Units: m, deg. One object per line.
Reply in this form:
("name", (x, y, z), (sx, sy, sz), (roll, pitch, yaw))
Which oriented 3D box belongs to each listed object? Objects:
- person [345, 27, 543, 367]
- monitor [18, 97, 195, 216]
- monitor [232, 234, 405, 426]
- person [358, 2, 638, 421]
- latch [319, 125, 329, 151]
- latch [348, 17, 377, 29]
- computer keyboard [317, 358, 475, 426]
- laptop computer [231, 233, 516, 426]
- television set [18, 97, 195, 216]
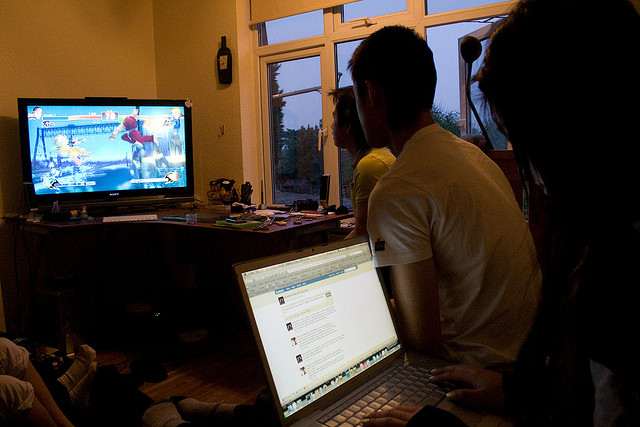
("person", (0.376, -0.065, 1.610), (0.637, 1.053, 0.729), (-1, 18, 34))
("monitor", (-1.625, -0.468, 3.760), (1.243, 0.832, 0.313), (-5, 17, -28))
("monitor", (-0.076, 0.293, 1.440), (0.585, 0.362, 0.409), (-17, 9, -31))
("person", (0.489, 0.024, 1.120), (0.442, 0.984, 0.267), (1, 12, 43))
("latch", (0.031, -0.638, 3.958), (0.113, 0.158, 0.114), (2, 4, 13))
("latch", (0.331, -1.450, 3.708), (0.128, 0.038, 0.091), (4, 7, 38))
("computer keyboard", (0.184, 0.471, 1.251), (0.400, 0.055, 0.173), (-11, 10, -24))
("laptop computer", (0.097, 0.349, 1.221), (0.528, 0.358, 0.540), (-17, 6, -33))
("television set", (-1.597, -0.455, 3.730), (1.249, 0.925, 0.231), (-13, 10, -32))
